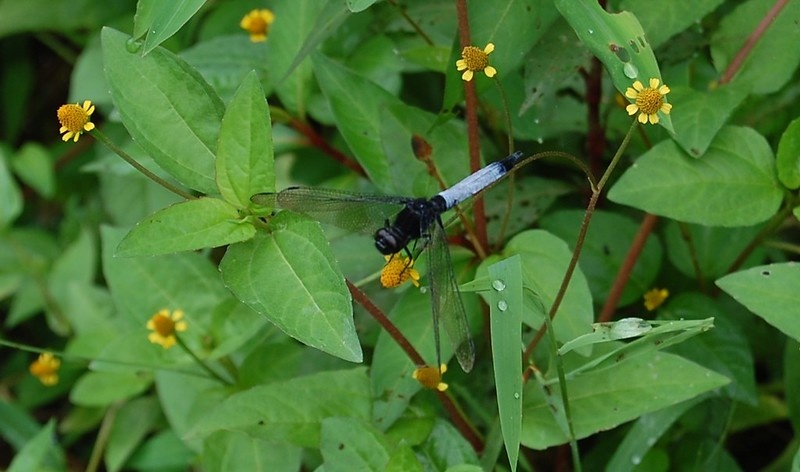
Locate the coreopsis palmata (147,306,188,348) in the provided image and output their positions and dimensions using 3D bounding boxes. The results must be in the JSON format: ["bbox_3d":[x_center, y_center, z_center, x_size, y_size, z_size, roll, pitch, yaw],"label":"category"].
[{"bbox_3d":[-0.627,0.243,1.867,0.106,0.107,0.034,-18,-17,-17],"label":"coreopsis palmata"}]

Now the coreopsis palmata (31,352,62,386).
[{"bbox_3d":[-0.918,0.339,1.829,0.097,0.084,0.030,7,-18,19],"label":"coreopsis palmata"}]

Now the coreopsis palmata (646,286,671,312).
[{"bbox_3d":[0.761,0.188,2.080,0.057,0.082,0.016,28,0,9],"label":"coreopsis palmata"}]

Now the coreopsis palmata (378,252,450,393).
[{"bbox_3d":[0.025,0.187,1.799,0.143,0.410,0.177,2,2,-9],"label":"coreopsis palmata"}]

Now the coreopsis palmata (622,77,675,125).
[{"bbox_3d":[0.597,-0.325,1.680,0.106,0.118,0.040,2,-4,-6],"label":"coreopsis palmata"}]

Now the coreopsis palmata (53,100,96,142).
[{"bbox_3d":[-0.802,-0.293,1.724,0.108,0.092,0.058,-30,-43,-2],"label":"coreopsis palmata"}]
